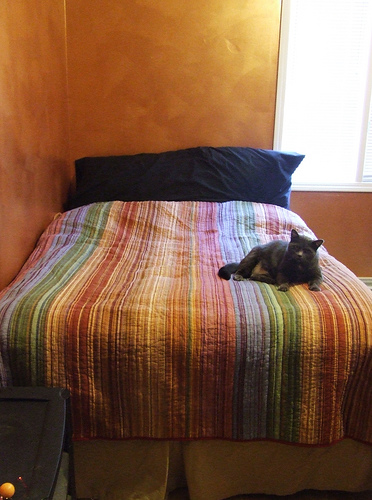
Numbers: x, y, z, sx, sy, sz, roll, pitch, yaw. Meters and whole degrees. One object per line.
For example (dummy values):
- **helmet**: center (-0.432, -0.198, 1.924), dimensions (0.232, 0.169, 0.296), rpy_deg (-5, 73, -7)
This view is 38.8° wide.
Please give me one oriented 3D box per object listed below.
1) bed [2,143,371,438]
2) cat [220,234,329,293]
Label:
- **bed**: center (-0.037, -0.006, 2.180), dimensions (1.247, 0.710, 1.645), rpy_deg (3, 16, -1)
- **cat**: center (0.282, 0.047, 1.757), dimensions (0.190, 0.125, 0.327), rpy_deg (7, -9, -42)
